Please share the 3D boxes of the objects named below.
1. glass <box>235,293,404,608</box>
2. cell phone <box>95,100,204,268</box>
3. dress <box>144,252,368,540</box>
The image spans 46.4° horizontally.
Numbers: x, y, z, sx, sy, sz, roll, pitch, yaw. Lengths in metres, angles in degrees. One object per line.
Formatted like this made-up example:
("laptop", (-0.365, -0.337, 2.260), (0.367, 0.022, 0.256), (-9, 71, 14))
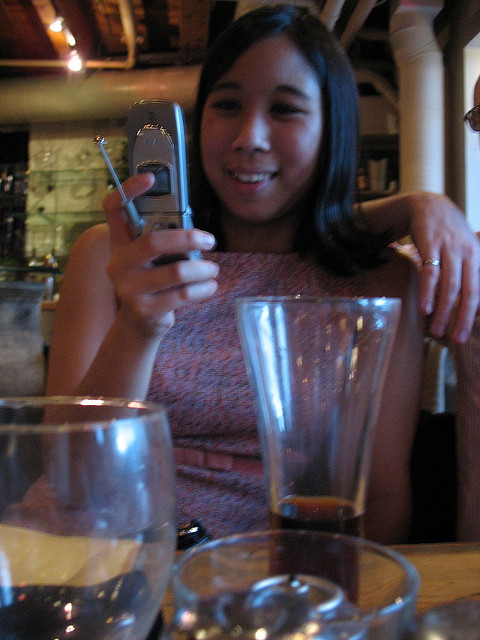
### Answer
("glass", (0.044, 0.083, 0.318), (0.078, 0.204, 0.077), (-1, 2, 15))
("cell phone", (-0.075, -0.142, 0.531), (0.063, 0.111, 0.086), (1, -10, 2))
("dress", (-0.009, 0.104, 0.924), (0.319, 0.415, 0.268), (-4, 11, -36))
